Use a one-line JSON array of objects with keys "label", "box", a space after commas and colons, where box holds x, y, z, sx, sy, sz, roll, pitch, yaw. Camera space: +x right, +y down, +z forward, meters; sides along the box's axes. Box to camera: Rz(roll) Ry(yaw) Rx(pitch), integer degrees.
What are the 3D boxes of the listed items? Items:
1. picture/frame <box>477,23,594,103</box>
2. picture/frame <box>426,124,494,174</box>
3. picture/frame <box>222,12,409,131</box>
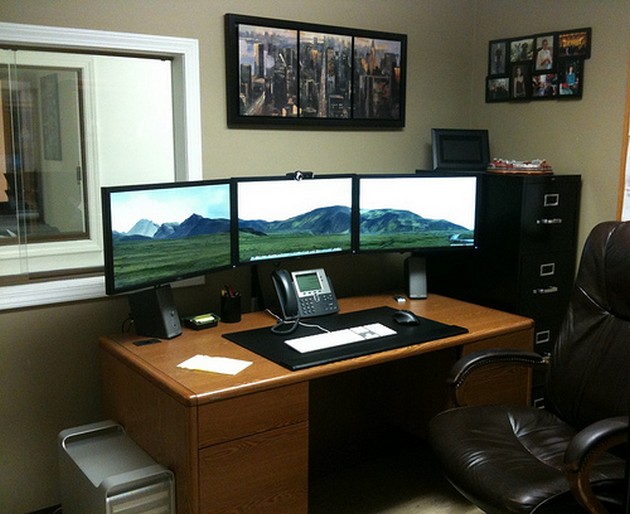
[{"label": "picture/frame", "box": [1.279, -1.093, 2.970, 0.029, 0.372, 0.601, -9, 15, -40]}, {"label": "picture/frame", "box": [0.859, -0.641, 3.079, 0.395, 0.290, 0.039, -1, -3, -26]}, {"label": "picture/frame", "box": [0.060, -0.990, 2.791, 1.119, 0.524, 0.035, -8, 21, -28]}]
